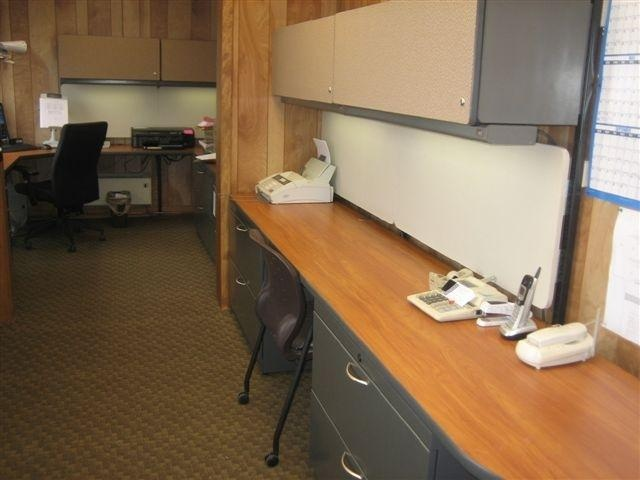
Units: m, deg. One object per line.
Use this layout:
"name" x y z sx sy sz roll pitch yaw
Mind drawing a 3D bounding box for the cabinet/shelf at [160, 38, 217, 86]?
"cabinet/shelf" -1.536 -2.145 6.045 0.719 0.505 0.371 2 8 -1

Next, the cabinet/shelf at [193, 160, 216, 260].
"cabinet/shelf" -1.155 -0.287 4.943 0.373 0.762 0.921 0 17 -12

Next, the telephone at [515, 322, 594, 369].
"telephone" 0.786 0.345 1.678 0.236 0.107 0.124 -9 18 -12

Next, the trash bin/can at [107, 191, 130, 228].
"trash bin/can" -2.422 -0.350 5.894 0.291 0.375 0.320 -1 7 -14

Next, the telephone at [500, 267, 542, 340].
"telephone" 0.707 0.222 1.760 0.128 0.261 0.102 -8 22 -17

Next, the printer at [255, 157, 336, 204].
"printer" -0.160 -0.397 3.586 0.404 0.254 0.396 0 13 -13

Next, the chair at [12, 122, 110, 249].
"chair" -2.734 -0.622 5.182 0.864 1.293 0.790 12 13 37
